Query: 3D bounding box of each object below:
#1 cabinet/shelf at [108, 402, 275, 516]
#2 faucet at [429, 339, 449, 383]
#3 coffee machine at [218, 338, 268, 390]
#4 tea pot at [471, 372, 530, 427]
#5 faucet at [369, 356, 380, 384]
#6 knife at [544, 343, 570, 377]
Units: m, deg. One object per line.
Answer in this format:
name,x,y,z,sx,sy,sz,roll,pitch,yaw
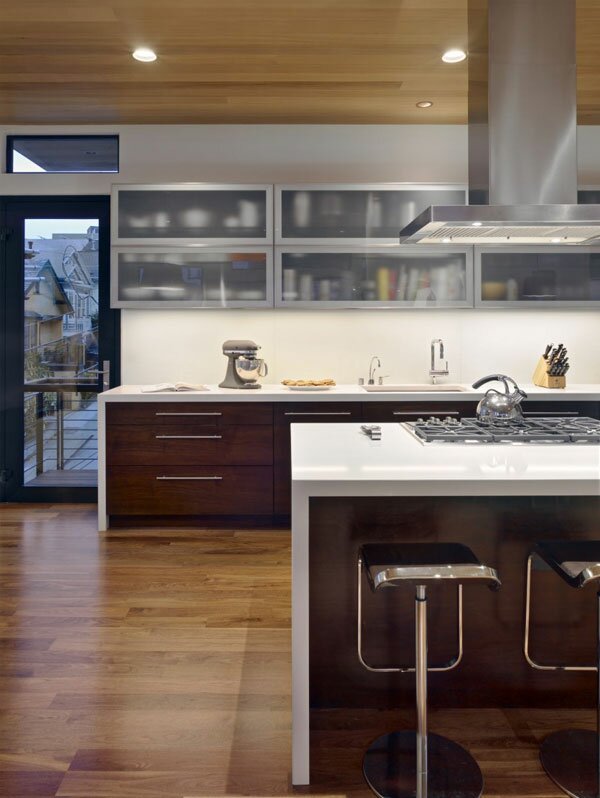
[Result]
cabinet/shelf,-0.691,0.377,4.532,0.996,0.618,0.530,2,-8,-24
faucet,0.837,-0.229,4.848,0.119,0.277,0.176,2,9,9
coffee machine,-0.334,-0.204,4.549,0.361,0.301,0.205,-1,5,2
tea pot,0.724,-0.008,2.929,0.165,0.186,0.226,-12,14,-42
faucet,0.446,-0.171,4.831,0.082,0.168,0.217,1,9,5
knife,1.445,-0.229,4.536,0.129,0.184,0.058,2,4,15
